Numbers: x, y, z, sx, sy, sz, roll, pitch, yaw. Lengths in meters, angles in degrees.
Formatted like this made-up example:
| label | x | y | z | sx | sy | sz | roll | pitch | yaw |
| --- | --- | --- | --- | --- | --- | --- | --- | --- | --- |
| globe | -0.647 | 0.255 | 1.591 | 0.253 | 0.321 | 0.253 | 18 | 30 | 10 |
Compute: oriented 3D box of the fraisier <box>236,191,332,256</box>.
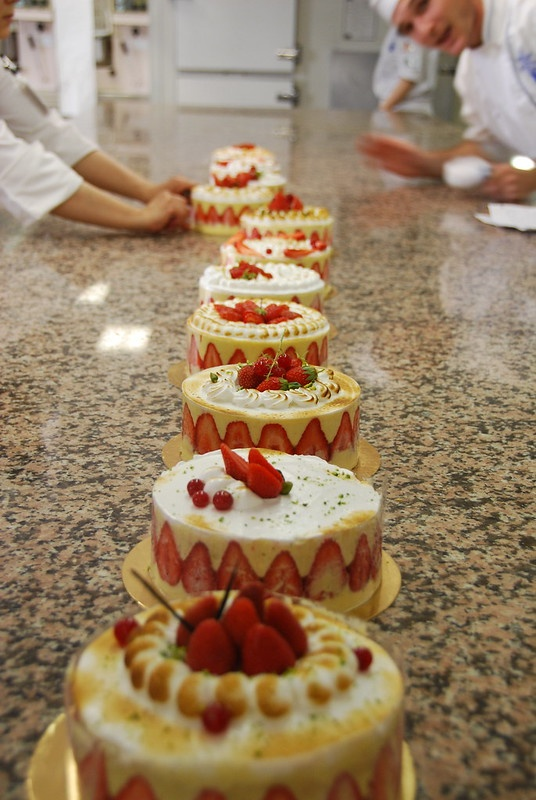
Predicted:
| label | x | y | z | sx | sy | sz | roll | pitch | yaw |
| --- | --- | --- | --- | --- | --- | --- | --- | --- | --- |
| fraisier | 0.074 | -0.448 | 1.801 | 0.176 | 0.097 | 0.172 | -22 | 26 | -30 |

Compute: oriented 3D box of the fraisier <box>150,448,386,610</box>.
| label | x | y | z | sx | sy | sz | roll | pitch | yaw |
| --- | --- | --- | --- | --- | --- | --- | --- | --- | --- |
| fraisier | -0.002 | 0.078 | 0.610 | 0.161 | 0.065 | 0.153 | -2 | 16 | -4 |

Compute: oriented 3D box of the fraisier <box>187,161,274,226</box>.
| label | x | y | z | sx | sy | sz | roll | pitch | yaw |
| --- | --- | --- | --- | --- | --- | --- | --- | --- | --- |
| fraisier | -0.097 | -0.637 | 2.160 | 0.255 | 0.146 | 0.256 | 19 | 27 | 41 |
